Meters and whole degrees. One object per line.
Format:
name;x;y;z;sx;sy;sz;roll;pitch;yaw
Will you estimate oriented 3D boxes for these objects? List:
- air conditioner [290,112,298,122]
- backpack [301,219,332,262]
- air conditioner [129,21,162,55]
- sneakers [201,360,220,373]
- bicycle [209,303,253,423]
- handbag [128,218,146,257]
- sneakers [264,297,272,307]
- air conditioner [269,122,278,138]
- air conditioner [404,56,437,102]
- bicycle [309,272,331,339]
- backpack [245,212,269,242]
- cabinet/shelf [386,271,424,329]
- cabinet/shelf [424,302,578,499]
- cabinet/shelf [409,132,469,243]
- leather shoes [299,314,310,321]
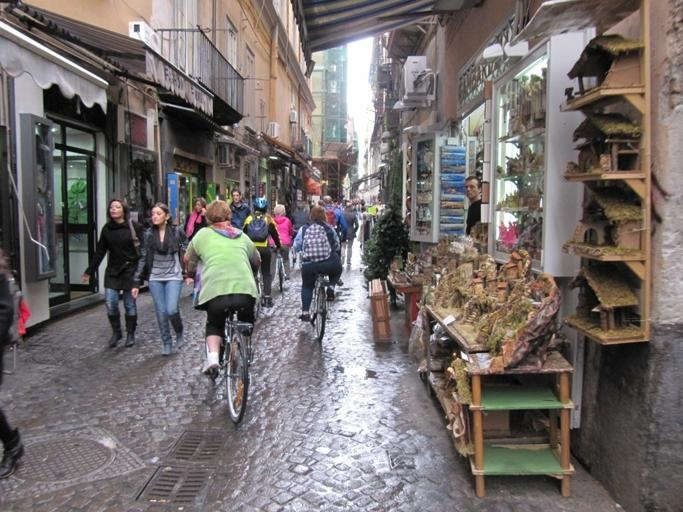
air conditioner;-2.867;-8.177;32.563;0.303;0.693;0.805;3;8;14
backpack;-0.421;-0.171;8.495;0.552;0.839;0.450;-1;-17;-7
air conditioner;-4.135;-4.621;11.672;0.382;0.478;1.252;0;8;-4
sneakers;-1.228;1.031;5.262;0.153;0.163;0.118;-1;8;-12
bicycle;-1.074;1.044;5.524;0.364;1.028;0.886;-1;8;-9
handbag;-2.847;-0.286;7.742;0.309;0.441;0.472;-3;-39;-20
sneakers;-1.290;0.816;10.027;0.113;0.171;0.161;5;4;31
air conditioner;-3.228;-5.958;26.252;0.445;0.702;0.985;-1;8;-15
air conditioner;1.775;-3.977;12.494;0.742;0.971;0.533;1;8;-1
bicycle;-0.334;0.760;8.496;0.282;0.964;0.837;1;8;-1
backpack;-1.491;-0.482;9.919;0.302;0.534;0.505;2;25;-4
cabinet/shelf;0.995;0.581;9.074;0.605;0.965;0.977;1;6;2
cabinet/shelf;1.362;1.191;4.844;0.944;1.047;1.453;0;8;-3
cabinet/shelf;2.008;-1.380;11.419;0.691;2.176;1.534;-2;8;-18
leather shoes;-0.548;0.915;8.394;0.136;0.129;0.127;-1;8;-10
